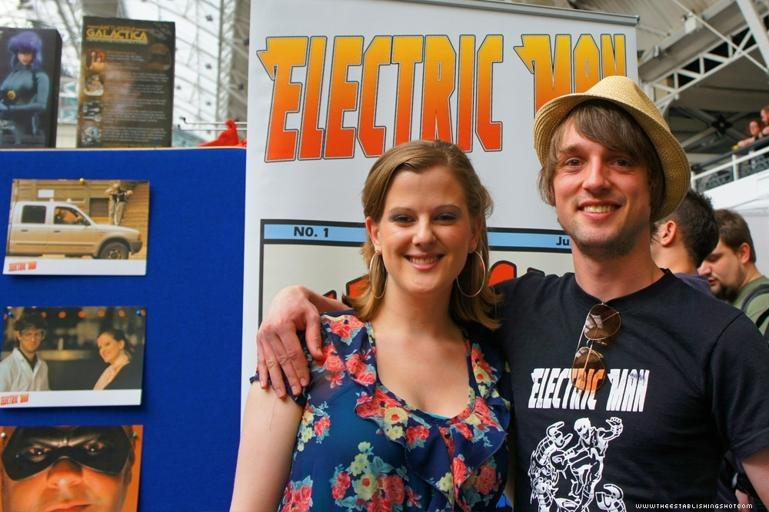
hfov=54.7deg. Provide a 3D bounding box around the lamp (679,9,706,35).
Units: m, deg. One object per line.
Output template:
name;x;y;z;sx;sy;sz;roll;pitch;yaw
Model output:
lamp;5.765;-4.357;13.928;0.369;0.532;0.291;18;45;33
